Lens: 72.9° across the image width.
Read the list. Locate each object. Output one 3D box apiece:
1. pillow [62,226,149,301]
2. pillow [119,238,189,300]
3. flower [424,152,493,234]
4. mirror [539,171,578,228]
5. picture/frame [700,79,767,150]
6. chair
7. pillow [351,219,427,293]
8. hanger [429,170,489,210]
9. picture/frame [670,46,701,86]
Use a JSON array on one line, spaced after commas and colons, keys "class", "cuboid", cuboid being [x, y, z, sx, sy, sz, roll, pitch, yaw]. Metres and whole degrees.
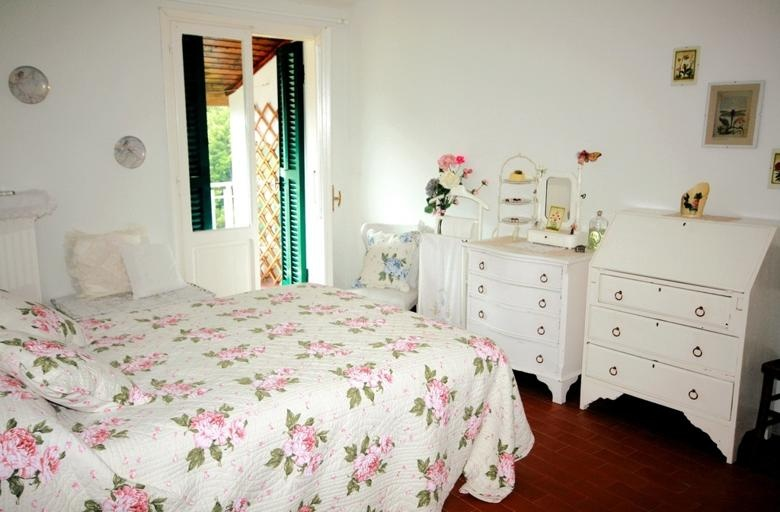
[{"class": "pillow", "cuboid": [-2.377, 0.068, 4.335, 0.571, 0.566, 0.164, -11, 1, -33]}, {"class": "pillow", "cuboid": [-1.965, 0.115, 4.349, 0.128, 0.429, 0.478, -30, -8, 38]}, {"class": "flower", "cuboid": [0.660, -0.576, 4.916, 0.802, 0.902, 0.472, -2, 4, -13]}, {"class": "mirror", "cuboid": [1.384, -0.447, 4.324, 0.335, 0.442, 0.241, 7, 14, 27]}, {"class": "picture/frame", "cuboid": [2.398, -0.984, 3.663, 0.449, 0.603, 0.034, 12, 19, 41]}, {"class": "chair", "cuboid": [0.029, 0.101, 4.832, 0.813, 0.786, 0.429, 6, 14, 22]}, {"class": "pillow", "cuboid": [0.003, -0.023, 4.904, 0.639, 0.640, 0.198, 2, -15, 34]}, {"class": "hanger", "cuboid": [0.583, -0.605, 4.821, 0.522, 0.355, 0.299, 3, -17, 27]}, {"class": "picture/frame", "cuboid": [2.140, -1.378, 3.816, 0.243, 0.352, 0.023, 16, 26, 38]}]
